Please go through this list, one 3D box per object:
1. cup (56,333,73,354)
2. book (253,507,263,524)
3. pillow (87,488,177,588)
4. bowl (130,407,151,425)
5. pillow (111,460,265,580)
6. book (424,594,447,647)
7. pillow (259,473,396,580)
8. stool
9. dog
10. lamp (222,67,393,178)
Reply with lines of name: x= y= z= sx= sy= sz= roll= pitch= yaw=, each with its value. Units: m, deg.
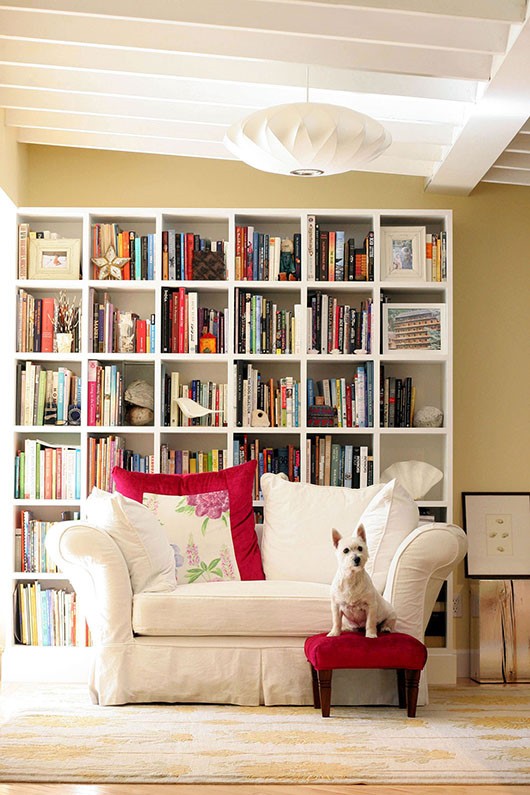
cup: x=-1.093 y=-0.293 z=4.216 sx=0.085 sy=0.109 sz=0.067 roll=0 pitch=-3 yaw=-10
book: x=-0.032 y=0.629 z=4.143 sx=0.061 sy=0.114 sz=0.083 roll=0 pitch=-5 yaw=-12
pillow: x=-0.619 y=0.647 z=3.474 sx=0.126 sy=0.418 sz=0.390 roll=-22 pitch=-20 yaw=24
bowl: x=-0.674 y=0.101 z=4.226 sx=0.086 sy=0.091 sz=0.112 roll=-2 pitch=-16 yaw=6
pillow: x=-0.367 y=0.597 z=3.713 sx=0.534 sy=0.509 sz=0.181 roll=1 pitch=-34 yaw=-9
book: x=0.897 y=1.194 z=4.129 sx=0.050 sy=0.210 sz=0.201 roll=4 pitch=-1 yaw=5
pillow: x=0.282 y=0.623 z=3.686 sx=0.478 sy=0.430 sz=0.173 roll=2 pitch=-39 yaw=11
stool: x=0.409 y=1.072 z=3.179 sx=0.514 sy=0.332 sz=0.515 roll=-1 pitch=-1 yaw=19
dog: x=0.381 y=0.721 z=3.112 sx=0.263 sy=0.435 sz=0.254 roll=-1 pitch=-3 yaw=9
lamp: x=0.152 y=-0.953 z=2.967 sx=0.405 sy=0.469 sz=0.390 roll=0 pitch=-9 yaw=3
